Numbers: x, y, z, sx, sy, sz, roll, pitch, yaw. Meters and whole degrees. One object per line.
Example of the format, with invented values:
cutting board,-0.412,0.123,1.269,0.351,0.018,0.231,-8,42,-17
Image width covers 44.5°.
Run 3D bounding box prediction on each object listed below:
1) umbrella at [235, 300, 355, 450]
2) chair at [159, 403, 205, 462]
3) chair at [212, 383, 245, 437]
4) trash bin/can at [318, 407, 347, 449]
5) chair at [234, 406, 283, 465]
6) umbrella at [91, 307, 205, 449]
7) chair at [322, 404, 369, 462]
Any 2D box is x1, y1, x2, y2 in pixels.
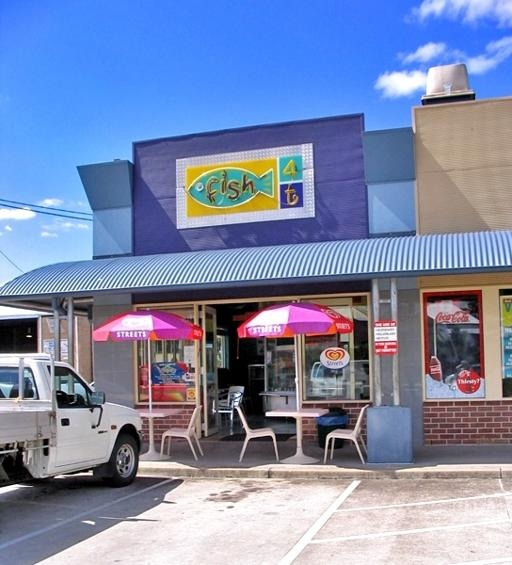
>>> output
umbrella,0.668,1.229,10.673,1.941,1.799,1.876,0,-6,-37
chair,-1.358,2.696,11.258,0.666,0.837,0.546,1,-10,0
chair,-0.680,3.411,17.263,0.854,1.010,0.756,-6,3,-27
trash bin/can,1.425,2.767,11.774,0.724,0.730,0.720,0,0,17
chair,0.120,2.650,10.990,0.733,0.901,0.583,-6,-15,16
umbrella,-1.927,1.493,11.371,1.827,1.992,1.909,1,1,43
chair,1.591,2.500,10.470,0.744,0.841,0.631,-2,-2,-27
